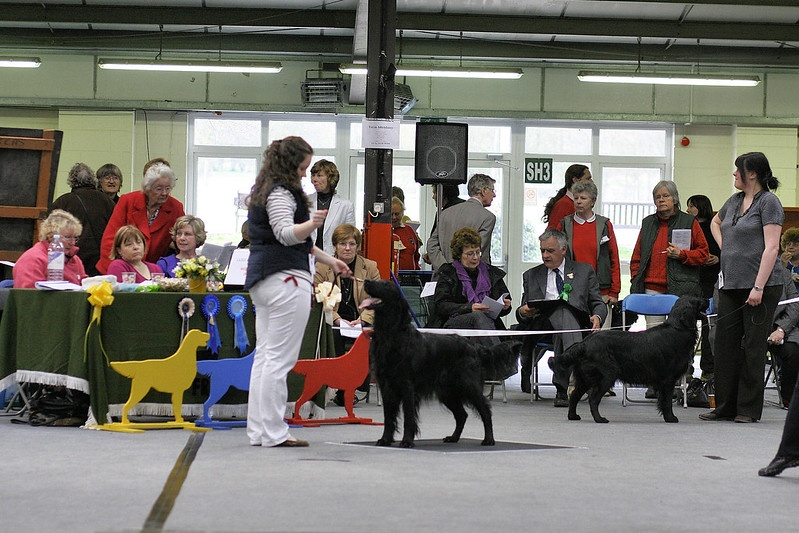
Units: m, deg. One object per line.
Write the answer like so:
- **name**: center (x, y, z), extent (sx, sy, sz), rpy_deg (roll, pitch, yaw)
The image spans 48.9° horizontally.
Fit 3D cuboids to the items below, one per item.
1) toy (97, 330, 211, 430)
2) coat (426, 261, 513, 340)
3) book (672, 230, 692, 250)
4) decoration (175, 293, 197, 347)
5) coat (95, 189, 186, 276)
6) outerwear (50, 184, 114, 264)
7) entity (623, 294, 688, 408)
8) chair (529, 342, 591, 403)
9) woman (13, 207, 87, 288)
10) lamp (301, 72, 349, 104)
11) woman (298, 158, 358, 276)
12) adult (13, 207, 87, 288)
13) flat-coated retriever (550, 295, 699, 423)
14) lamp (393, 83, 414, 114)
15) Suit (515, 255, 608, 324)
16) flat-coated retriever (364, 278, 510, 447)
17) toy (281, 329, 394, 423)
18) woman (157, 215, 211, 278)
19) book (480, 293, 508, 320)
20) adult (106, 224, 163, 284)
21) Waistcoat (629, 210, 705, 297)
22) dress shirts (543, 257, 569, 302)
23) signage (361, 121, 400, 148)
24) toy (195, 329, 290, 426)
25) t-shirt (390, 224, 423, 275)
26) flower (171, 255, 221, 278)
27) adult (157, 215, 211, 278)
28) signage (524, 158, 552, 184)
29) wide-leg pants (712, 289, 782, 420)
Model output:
- **toy**: center (-2.058, 0.892, 7.377), extent (0.829, 0.816, 0.851), rpy_deg (1, 0, -27)
- **coat**: center (0.739, 0.368, 9.170), extent (0.669, 0.795, 0.776), rpy_deg (5, -14, -19)
- **book**: center (2.942, -0.271, 9.197), extent (0.215, 0.260, 0.030), rpy_deg (1, -4, 10)
- **decoration**: center (-1.798, 0.475, 7.306), extent (0.153, 0.409, 0.043), rpy_deg (4, -2, -44)
- **coat**: center (-2.470, -0.285, 8.445), extent (0.760, 0.863, 0.425), rpy_deg (5, 16, -44)
- **outerwear**: center (-3.088, -0.379, 8.509), extent (0.831, 0.859, 0.500), rpy_deg (2, 1, -20)
- **entity**: center (2.533, 0.889, 9.385), extent (0.884, 1.203, 0.923), rpy_deg (-7, -11, 25)
- **chair**: center (1.712, 1.155, 9.700), extent (0.890, 0.793, 0.673), rpy_deg (1, -7, -8)
- **woman**: center (-3.206, -0.162, 7.979), extent (0.433, 0.731, 0.807), rpy_deg (0, 0, 15)
- **lamp**: center (-1.360, -3.120, 15.861), extent (0.835, 0.581, 0.609), rpy_deg (1, 7, 2)
- **woman**: center (-0.798, -0.375, 9.398), extent (0.629, 1.460, 0.491), rpy_deg (0, 8, -5)
- **adult**: center (-3.206, -0.162, 7.979), extent (0.433, 0.731, 0.807), rpy_deg (0, 0, 15)
- **flat-coated retriever**: center (2.125, 0.880, 8.386), extent (1.166, 0.865, 0.452), rpy_deg (-1, -19, 6)
- **lamp**: center (0.062, -2.914, 15.283), extent (0.311, 0.453, 0.756), rpy_deg (11, 9, -11)
- **Suit**: center (1.684, 0.235, 9.151), extent (0.899, 0.711, 0.688), rpy_deg (-3, -8, 25)
- **flat-coated retriever**: center (0.244, 0.757, 6.550), extent (1.601, 1.094, 0.421), rpy_deg (11, -10, -39)
- **toy**: center (-0.569, 0.968, 7.526), extent (0.818, 0.774, 0.448), rpy_deg (-3, -9, 20)
- **woman**: center (-2.002, -0.171, 8.035), extent (0.474, 0.562, 0.318), rpy_deg (8, -16, 5)
- **book**: center (0.981, 0.398, 8.878), extent (0.232, 0.221, 0.311), rpy_deg (-2, -21, -29)
- **adult**: center (-2.404, -0.062, 7.898), extent (0.384, 0.553, 0.642), rpy_deg (-10, -4, 38)
- **Waistcoat**: center (2.882, -0.109, 9.407), extent (0.883, 1.005, 0.623), rpy_deg (-5, -10, 34)
- **dress shirts**: center (1.615, 0.166, 9.195), extent (0.237, 0.384, 0.143), rpy_deg (3, 0, 35)
- **signage**: center (-0.224, -1.489, 9.897), extent (0.283, 0.373, 0.054), rpy_deg (-7, 22, -5)
- **toy**: center (-1.330, 0.980, 7.141), extent (0.755, 0.668, 0.419), rpy_deg (-5, -11, 31)
- **t-shirt**: center (0.031, -0.253, 11.916), extent (0.648, 0.604, 0.355), rpy_deg (-2, 6, -22)
- **flower**: center (-1.736, 0.020, 7.499), extent (0.239, 0.132, 0.236), rpy_deg (-1, -1, 6)
- **adult**: center (-1.983, -0.135, 8.164), extent (0.506, 0.623, 0.332), rpy_deg (5, -9, 3)
- **signage**: center (2.593, -1.828, 16.734), extent (0.517, 0.411, 0.030), rpy_deg (-1, 2, -5)
- **wide-leg pants**: center (3.120, 0.720, 8.002), extent (0.526, 1.471, 0.427), rpy_deg (3, -34, 21)
